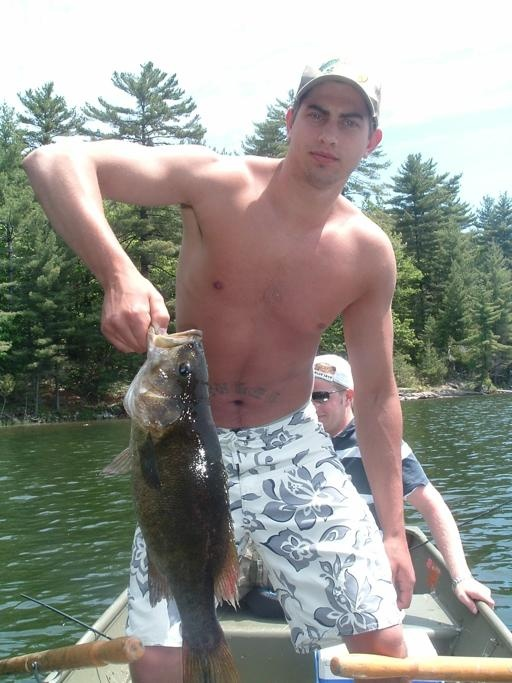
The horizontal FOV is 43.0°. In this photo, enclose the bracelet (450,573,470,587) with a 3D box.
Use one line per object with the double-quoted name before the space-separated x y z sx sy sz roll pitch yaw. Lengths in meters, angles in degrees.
"bracelet" 1.190 1.396 3.780 0.077 0.026 0.073 -1 -29 -45
